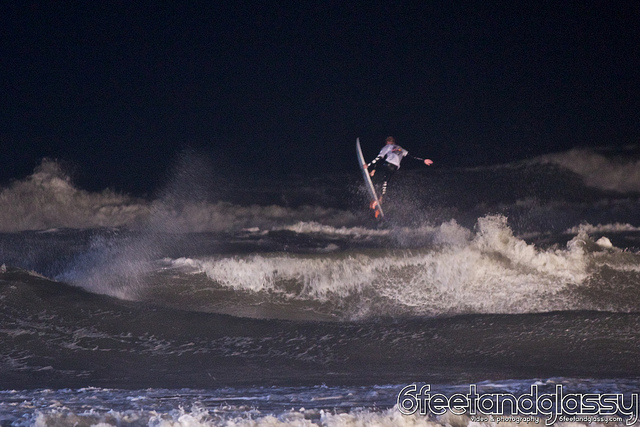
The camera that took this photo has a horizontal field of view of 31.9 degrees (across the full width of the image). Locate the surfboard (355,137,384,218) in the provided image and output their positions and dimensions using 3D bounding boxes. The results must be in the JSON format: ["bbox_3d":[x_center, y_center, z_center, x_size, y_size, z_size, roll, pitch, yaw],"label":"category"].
[{"bbox_3d":[1.106,-0.630,23.408,0.284,1.939,0.281,-18,2,-26],"label":"surfboard"}]
